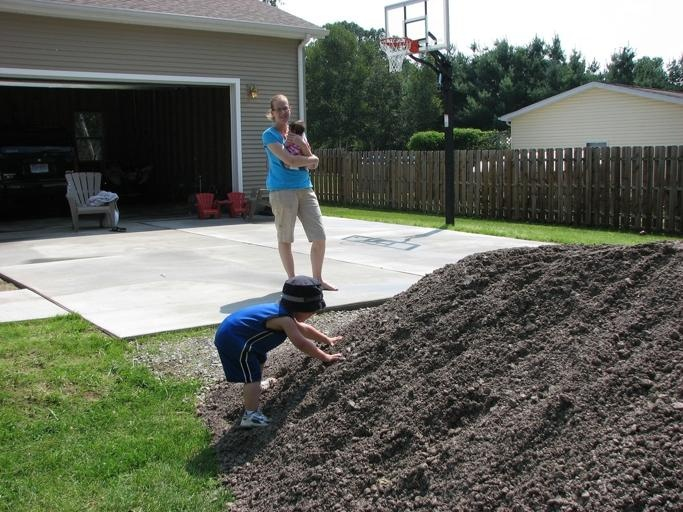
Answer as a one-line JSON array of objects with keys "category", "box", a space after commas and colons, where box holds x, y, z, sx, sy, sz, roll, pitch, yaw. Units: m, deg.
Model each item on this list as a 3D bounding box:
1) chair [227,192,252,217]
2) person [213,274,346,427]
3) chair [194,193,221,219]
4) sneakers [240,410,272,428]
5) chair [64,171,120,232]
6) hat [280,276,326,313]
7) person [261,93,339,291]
[{"category": "chair", "box": [-2.253, -1.104, 13.599, 0.486, 0.615, 0.581, -4, 12, -19]}, {"category": "person", "box": [-0.507, 0.503, 3.953, 0.874, 1.027, 0.652, 0, 12, -15]}, {"category": "chair", "box": [-2.934, -1.085, 13.573, 0.429, 0.576, 0.609, -3, 8, -23]}, {"category": "sneakers", "box": [-0.521, 1.008, 3.819, 0.199, 0.113, 0.084, 0, 1, -4]}, {"category": "chair", "box": [-4.840, -1.032, 11.887, 0.728, 1.196, 1.071, -6, 9, -30]}, {"category": "hat", "box": [-0.241, 0.207, 3.865, 0.285, 0.211, 0.298, -2, 13, -13]}, {"category": "person", "box": [-0.457, -0.641, 6.402, 0.632, 2.056, 0.944, -3, 10, -7]}]
